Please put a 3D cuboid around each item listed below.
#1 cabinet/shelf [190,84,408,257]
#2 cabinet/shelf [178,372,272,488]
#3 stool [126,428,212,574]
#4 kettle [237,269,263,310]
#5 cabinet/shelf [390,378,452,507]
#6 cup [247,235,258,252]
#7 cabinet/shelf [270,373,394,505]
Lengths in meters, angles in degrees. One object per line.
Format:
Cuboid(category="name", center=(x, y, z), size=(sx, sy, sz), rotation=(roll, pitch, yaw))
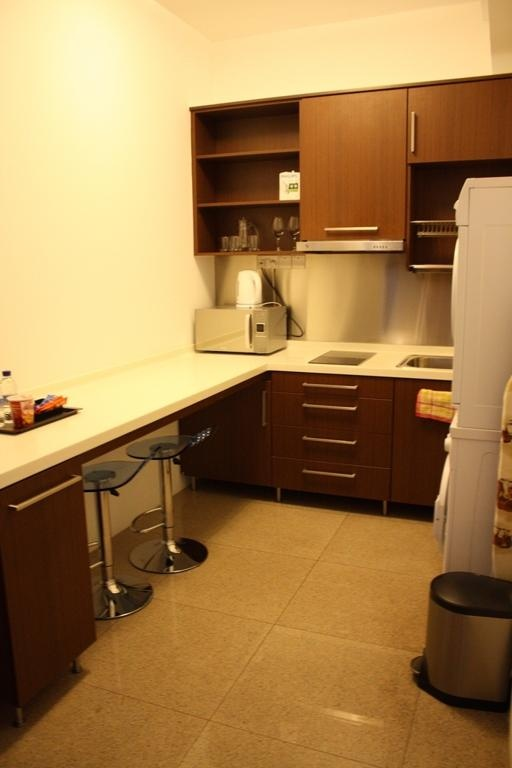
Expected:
Cuboid(category="cabinet/shelf", center=(0.265, -1.121, 3.222), size=(1.171, 0.838, 0.405), rotation=(3, 13, 14))
Cuboid(category="cabinet/shelf", center=(-0.197, 0.242, 3.191), size=(0.544, 0.860, 0.491), rotation=(1, 7, 15))
Cuboid(category="stool", center=(-0.388, 0.482, 2.503), size=(0.296, 0.541, 0.310), rotation=(-4, 6, -13))
Cuboid(category="kettle", center=(-0.041, -0.533, 3.239), size=(0.136, 0.218, 0.199), rotation=(-5, 15, -24))
Cuboid(category="cabinet/shelf", center=(0.841, 0.294, 2.890), size=(0.288, 0.603, 0.289), rotation=(-2, 12, 19))
Cuboid(category="cup", center=(-0.032, -0.830, 3.395), size=(0.051, 0.097, 0.091), rotation=(-1, 0, -4))
Cuboid(category="cabinet/shelf", center=(0.425, 0.206, 3.098), size=(0.640, 0.689, 0.413), rotation=(3, 22, 12))
